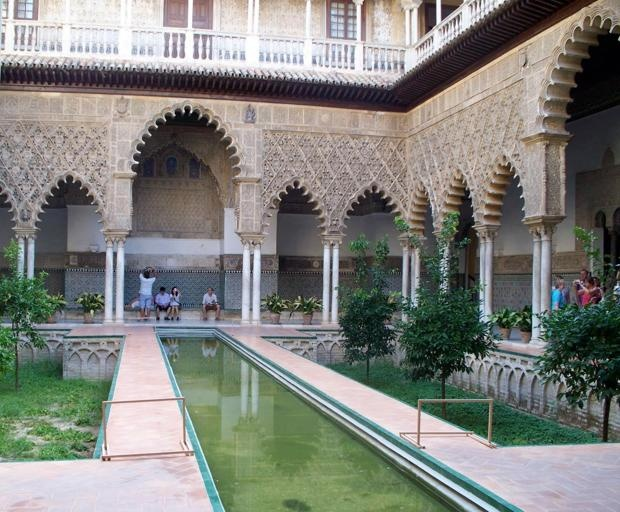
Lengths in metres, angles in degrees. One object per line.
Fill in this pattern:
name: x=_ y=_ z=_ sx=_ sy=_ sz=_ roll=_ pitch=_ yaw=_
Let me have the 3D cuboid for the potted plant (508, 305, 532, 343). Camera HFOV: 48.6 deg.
potted plant: x=3.281 y=1.052 z=10.660 sx=0.424 sy=0.488 sz=0.446 roll=0 pitch=1 yaw=17

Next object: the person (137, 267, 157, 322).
person: x=-3.394 y=0.782 z=14.269 sx=0.399 sy=1.133 sz=0.389 roll=5 pitch=2 yaw=-35

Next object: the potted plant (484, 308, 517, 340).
potted plant: x=2.906 y=1.040 z=10.456 sx=0.461 sy=0.506 sz=0.495 roll=0 pitch=-4 yaw=-6

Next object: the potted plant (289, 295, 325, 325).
potted plant: x=-0.069 y=1.107 z=14.399 sx=0.562 sy=0.561 sz=0.602 roll=1 pitch=-6 yaw=-3

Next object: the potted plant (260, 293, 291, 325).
potted plant: x=-0.697 y=1.084 z=14.411 sx=0.584 sy=0.589 sz=0.623 roll=1 pitch=0 yaw=-1

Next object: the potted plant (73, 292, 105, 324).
potted plant: x=-4.468 y=1.006 z=13.843 sx=0.588 sy=0.659 sz=0.637 roll=3 pitch=-9 yaw=-1
